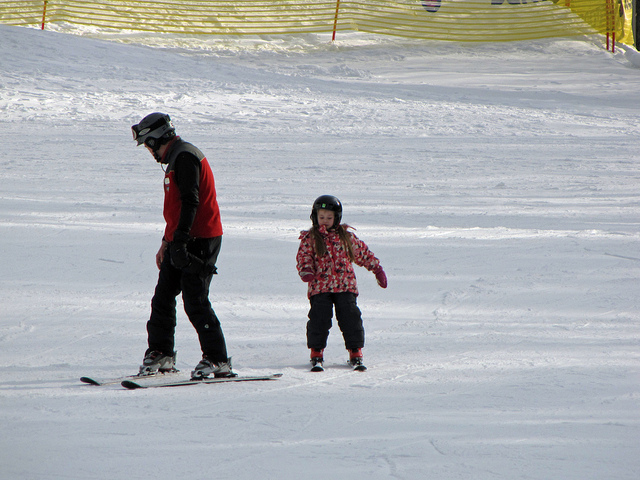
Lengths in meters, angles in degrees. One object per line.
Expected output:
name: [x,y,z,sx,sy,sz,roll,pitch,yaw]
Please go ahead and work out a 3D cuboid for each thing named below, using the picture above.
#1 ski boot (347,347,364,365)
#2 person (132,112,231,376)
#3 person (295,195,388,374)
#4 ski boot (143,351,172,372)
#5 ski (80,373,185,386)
ski boot: [0.376,1.298,13.017,0.168,0.178,0.237,2,9,0]
person: [-1.460,0.050,12.475,0.994,2.771,0.718,1,11,-8]
person: [0.181,0.476,13.024,0.943,1.897,0.612,3,11,0]
ski boot: [-1.753,1.310,12.537,0.377,0.116,0.171,11,-1,-10]
ski: [-2.066,1.497,12.344,0.979,0.092,0.258,0,8,-8]
